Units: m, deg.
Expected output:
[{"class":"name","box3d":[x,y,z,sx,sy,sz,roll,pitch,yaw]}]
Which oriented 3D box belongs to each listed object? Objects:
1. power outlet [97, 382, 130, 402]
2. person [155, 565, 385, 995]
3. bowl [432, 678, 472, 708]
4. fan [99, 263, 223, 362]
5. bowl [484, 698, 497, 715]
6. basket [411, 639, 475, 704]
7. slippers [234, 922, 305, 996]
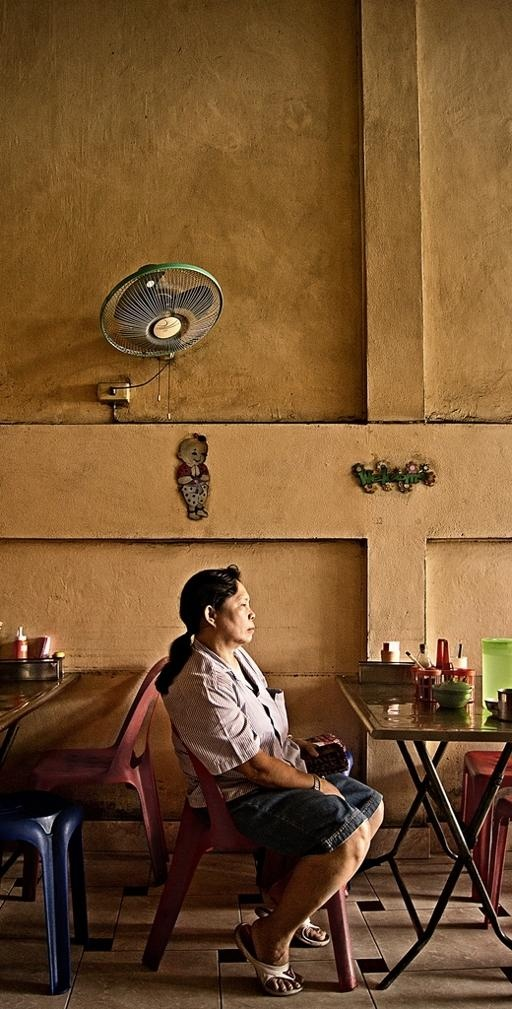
[{"class":"power outlet","box3d":[-0.596,-0.467,4.046,0.130,0.088,0.072,0,-6,-1]},{"class":"person","box3d":[0.066,0.817,3.042,0.665,1.214,0.523,1,2,27]},{"class":"bowl","box3d":[0.628,0.611,3.107,0.097,0.049,0.100,0,-13,0]},{"class":"fan","box3d":[-0.361,-0.740,3.723,0.465,0.273,0.471,0,1,-17]},{"class":"bowl","box3d":[0.723,0.627,3.013,0.039,0.030,0.039,1,2,0]},{"class":"basket","box3d":[0.620,0.583,3.244,0.130,0.195,0.219,0,-6,4]},{"class":"slippers","box3d":[0.031,1.358,2.872,0.113,0.070,0.252,0,39,-40]}]
